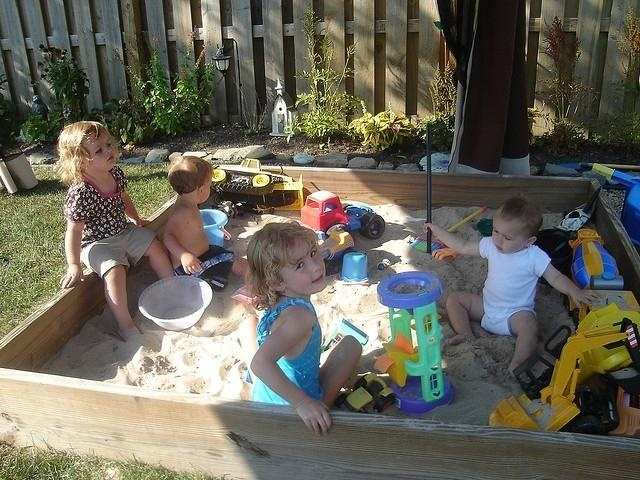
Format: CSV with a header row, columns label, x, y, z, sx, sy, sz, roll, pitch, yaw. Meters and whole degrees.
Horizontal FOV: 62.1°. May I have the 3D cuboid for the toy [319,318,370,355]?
label,x,y,z,sx,sy,sz,roll,pitch,yaw
toy,0.120,0.561,2.920,0.163,0.227,0.082,37,18,-6

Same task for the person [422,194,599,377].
label,x,y,z,sx,sy,sz,roll,pitch,yaw
person,1.111,0.289,3.050,0.394,0.617,0.711,-28,37,-34

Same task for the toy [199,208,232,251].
label,x,y,z,sx,sy,sz,roll,pitch,yaw
toy,-0.814,-0.088,4.098,0.230,0.220,0.263,-2,18,-5

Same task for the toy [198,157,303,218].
label,x,y,z,sx,sy,sz,roll,pitch,yaw
toy,-0.525,-0.432,4.538,0.616,0.353,0.474,7,7,14

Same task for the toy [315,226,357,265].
label,x,y,z,sx,sy,sz,roll,pitch,yaw
toy,0.099,0.016,3.714,0.297,0.115,0.160,-27,45,-35

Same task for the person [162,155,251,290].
label,x,y,z,sx,sy,sz,roll,pitch,yaw
person,-0.738,-0.131,3.785,0.625,0.863,0.614,5,18,0

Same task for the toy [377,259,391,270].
label,x,y,z,sx,sy,sz,roll,pitch,yaw
toy,0.446,0.169,3.688,0.064,0.075,0.078,21,25,15

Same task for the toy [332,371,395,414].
label,x,y,z,sx,sy,sz,roll,pitch,yaw
toy,0.224,0.748,2.547,0.204,0.099,0.168,-16,37,-8

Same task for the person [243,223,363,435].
label,x,y,z,sx,sy,sz,roll,pitch,yaw
person,-0.090,0.436,2.361,0.506,0.914,0.573,0,21,9

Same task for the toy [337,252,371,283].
label,x,y,z,sx,sy,sz,roll,pitch,yaw
toy,0.234,0.196,3.603,0.163,0.146,0.184,-5,26,-12

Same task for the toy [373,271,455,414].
label,x,y,z,sx,sy,sz,roll,pitch,yaw
toy,0.474,0.452,2.543,0.345,0.667,0.474,3,22,15

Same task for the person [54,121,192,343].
label,x,y,z,sx,sy,sz,roll,pitch,yaw
person,-1.287,-0.122,3.494,0.765,1.256,0.928,-6,29,-20

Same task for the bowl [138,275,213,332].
label,x,y,z,sx,sy,sz,roll,pitch,yaw
bowl,-0.974,0.450,3.583,0.451,0.189,0.499,-6,-18,-6

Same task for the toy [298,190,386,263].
label,x,y,z,sx,sy,sz,roll,pitch,yaw
toy,0.176,-0.137,3.915,0.585,0.427,0.436,-23,30,-22
